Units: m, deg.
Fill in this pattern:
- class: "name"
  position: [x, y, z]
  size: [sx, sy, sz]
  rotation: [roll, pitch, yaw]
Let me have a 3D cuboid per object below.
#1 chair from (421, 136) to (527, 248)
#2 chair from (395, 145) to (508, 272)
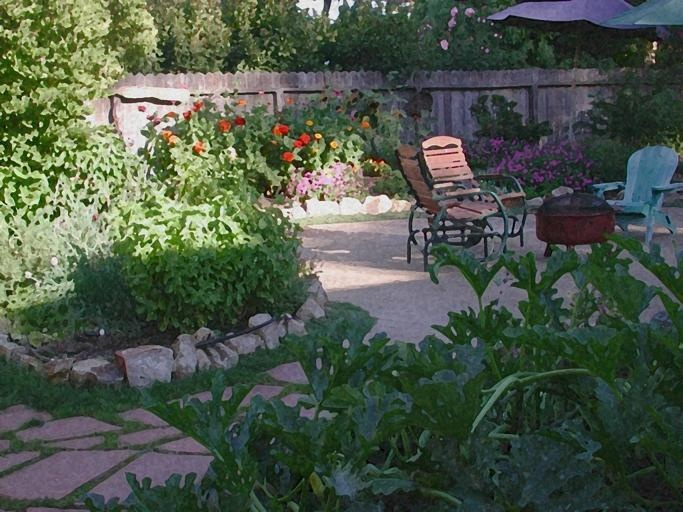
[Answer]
- class: "chair"
  position: [1.712, -0.754, 8.066]
  size: [1.164, 1.519, 0.844]
  rotation: [2, 8, 38]
- class: "chair"
  position: [1.310, -0.596, 7.330]
  size: [1.279, 1.397, 1.053]
  rotation: [-1, 1, -3]
